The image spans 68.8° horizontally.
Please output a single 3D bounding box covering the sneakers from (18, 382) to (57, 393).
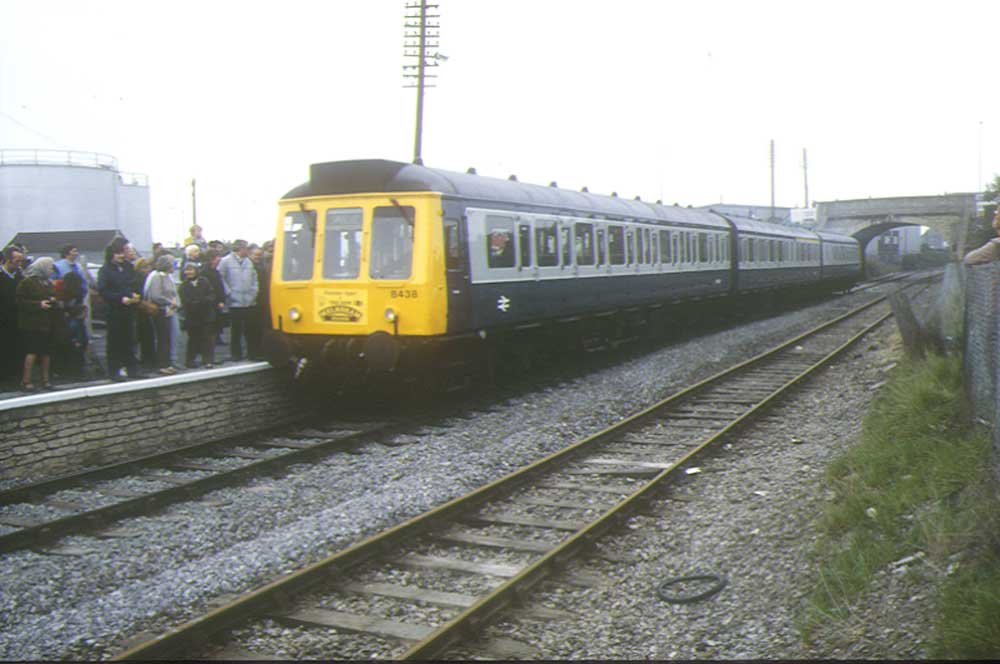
[{"bbox_3d":[-6.656,0.776,10.460,0.397,0.147,0.121,-1,3,8],"label":"sneakers"}]
